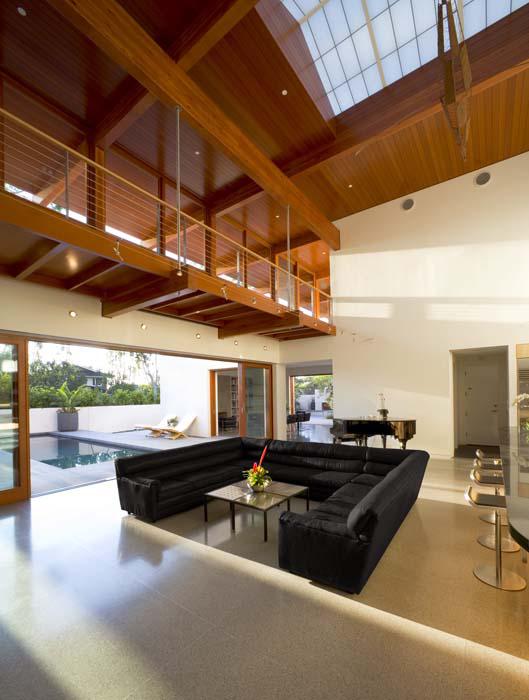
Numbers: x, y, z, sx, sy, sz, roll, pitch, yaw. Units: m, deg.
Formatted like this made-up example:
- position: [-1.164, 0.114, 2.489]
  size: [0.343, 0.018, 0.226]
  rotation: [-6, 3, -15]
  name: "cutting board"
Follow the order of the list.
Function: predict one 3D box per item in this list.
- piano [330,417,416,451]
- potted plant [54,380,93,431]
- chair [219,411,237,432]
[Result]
- position: [1.719, 1.245, 7.794]
  size: [0.917, 0.452, 0.702]
  rotation: [1, -6, 15]
  name: "piano"
- position: [-4.939, 1.484, 12.745]
  size: [1.178, 1.255, 0.952]
  rotation: [3, -9, -24]
  name: "potted plant"
- position: [-0.838, 1.650, 11.350]
  size: [0.523, 0.500, 0.439]
  rotation: [0, -6, 20]
  name: "chair"
